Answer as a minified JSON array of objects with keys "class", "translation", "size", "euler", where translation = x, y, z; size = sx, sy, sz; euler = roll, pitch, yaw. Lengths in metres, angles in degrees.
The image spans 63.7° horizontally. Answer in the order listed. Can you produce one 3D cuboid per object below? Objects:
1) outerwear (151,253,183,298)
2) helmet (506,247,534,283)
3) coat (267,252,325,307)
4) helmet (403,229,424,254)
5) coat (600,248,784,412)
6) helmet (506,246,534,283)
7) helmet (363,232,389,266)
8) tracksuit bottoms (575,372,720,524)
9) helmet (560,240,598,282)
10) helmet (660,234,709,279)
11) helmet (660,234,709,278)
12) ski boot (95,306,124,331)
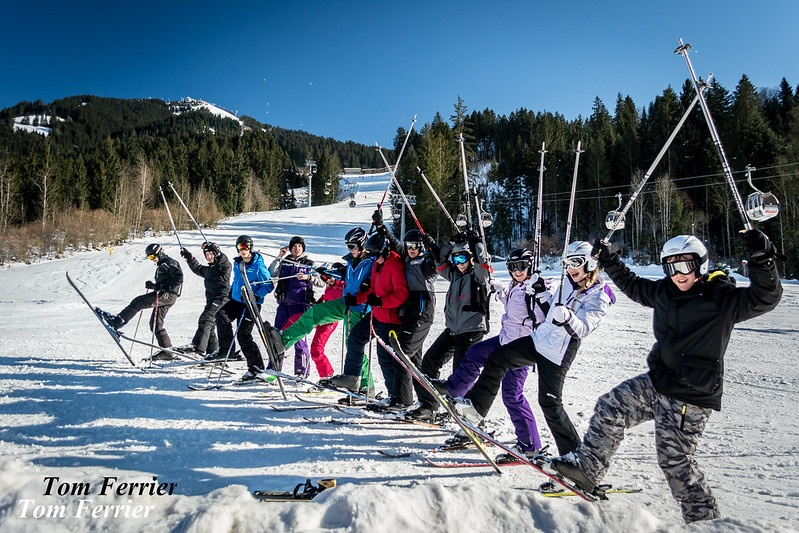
[{"class":"outerwear","translation":[-5.457,0.232,14.911],"size":[0.649,1.078,1.015],"euler":[-2,3,-44]},{"class":"helmet","translation":[2.031,-0.020,10.819],"size":[0.440,0.639,0.551],"euler":[-5,-4,28]},{"class":"coat","translation":[-2.150,0.342,13.297],"size":[1.171,1.402,0.916],"euler":[0,-11,8]},{"class":"helmet","translation":[0.275,-0.486,11.948],"size":[0.297,0.357,0.408],"euler":[6,12,21]},{"class":"coat","translation":[5.260,1.280,11.494],"size":[1.158,2.359,2.685],"euler":[17,-8,-41]},{"class":"helmet","translation":[2.047,-0.029,10.828],"size":[0.440,0.640,0.552],"euler":[-5,-4,28]},{"class":"helmet","translation":[-0.403,-0.324,11.747],"size":[0.379,0.525,0.521],"euler":[-6,15,32]},{"class":"tracksuit bottoms","translation":[3.794,2.832,9.697],"size":[1.429,1.959,0.606],"euler":[23,-5,40]},{"class":"helmet","translation":[2.887,-0.109,10.407],"size":[0.583,0.642,0.462],"euler":[4,-8,-20]},{"class":"helmet","translation":[4.224,-0.142,9.543],"size":[0.525,0.584,0.689],"euler":[-10,-6,36]},{"class":"helmet","translation":[4.315,-0.145,9.707],"size":[0.518,0.574,0.679],"euler":[-10,-7,35]},{"class":"ski boot","translation":[-7.115,1.299,15.720],"size":[0.354,0.787,0.266],"euler":[-41,7,28]}]
